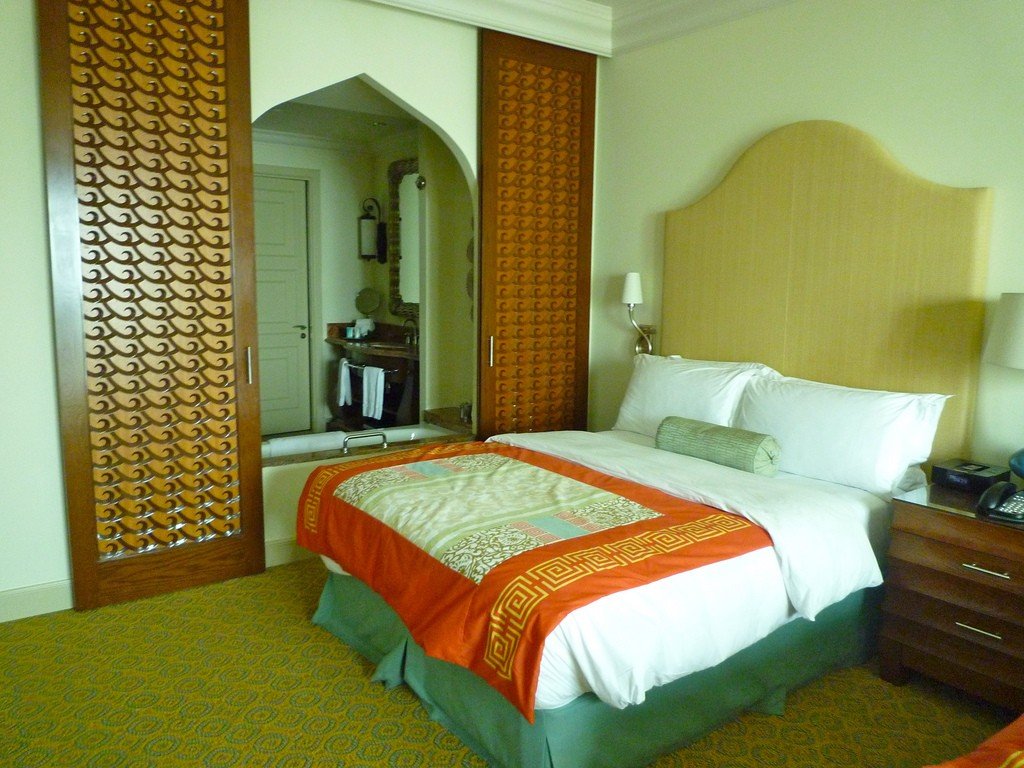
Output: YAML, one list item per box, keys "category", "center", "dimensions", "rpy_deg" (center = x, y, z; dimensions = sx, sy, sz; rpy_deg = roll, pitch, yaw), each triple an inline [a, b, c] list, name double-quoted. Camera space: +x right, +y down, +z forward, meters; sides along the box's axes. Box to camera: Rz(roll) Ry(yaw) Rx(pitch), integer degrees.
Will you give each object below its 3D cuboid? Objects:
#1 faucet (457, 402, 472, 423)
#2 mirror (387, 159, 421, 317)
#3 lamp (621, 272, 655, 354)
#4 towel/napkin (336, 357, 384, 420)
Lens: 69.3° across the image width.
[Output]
- category: "faucet"
  center: [-0.357, 0.220, 5.579]
  dimensions: [0.107, 0.169, 0.108]
  rpy_deg: [-8, 16, -37]
- category: "mirror"
  center: [-1.025, -1.339, 6.905]
  dimensions: [0.099, 1.472, 0.497]
  rpy_deg: [-3, 10, -27]
- category: "lamp"
  center: [0.771, -0.466, 4.840]
  dimensions: [0.282, 0.527, 0.290]
  rpy_deg: [8, 11, 38]
- category: "towel/napkin"
  center: [-1.369, 0.029, 6.752]
  dimensions: [0.067, 0.303, 0.573]
  rpy_deg: [-7, 15, -35]
